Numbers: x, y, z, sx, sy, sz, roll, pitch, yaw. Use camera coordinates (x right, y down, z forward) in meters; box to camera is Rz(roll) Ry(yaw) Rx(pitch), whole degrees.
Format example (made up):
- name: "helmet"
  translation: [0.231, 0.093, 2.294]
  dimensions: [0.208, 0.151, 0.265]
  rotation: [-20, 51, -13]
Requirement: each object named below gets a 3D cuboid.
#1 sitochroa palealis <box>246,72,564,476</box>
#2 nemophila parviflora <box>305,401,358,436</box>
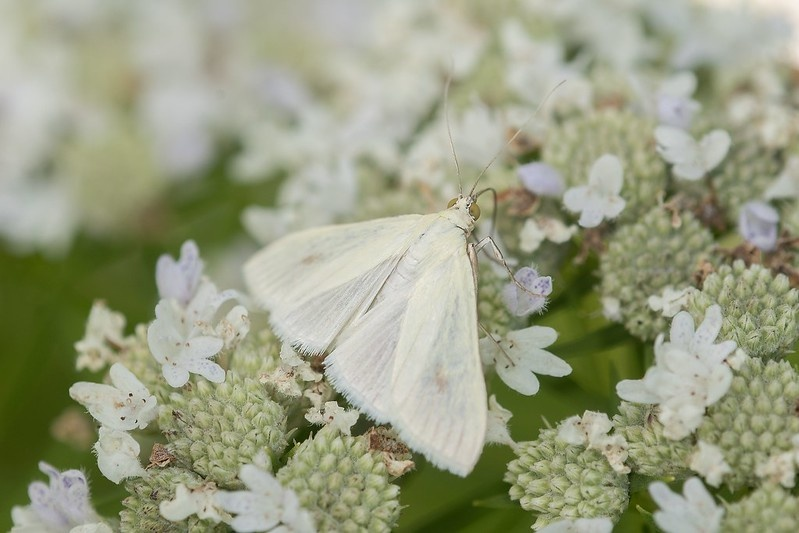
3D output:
- name: "sitochroa palealis"
  translation: [0.056, 0.081, 3.601]
  dimensions: [1.013, 0.454, 1.193]
  rotation: [21, 79, 33]
- name: "nemophila parviflora"
  translation: [-0.258, 0.593, 3.535]
  dimensions: [0.138, 0.043, 0.145]
  rotation: [6, 28, -35]
